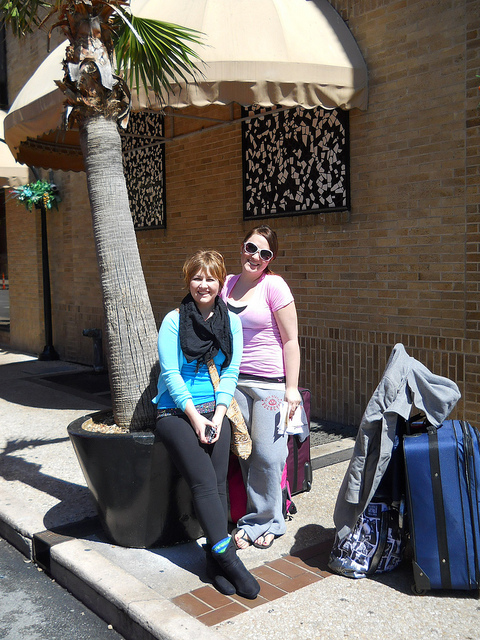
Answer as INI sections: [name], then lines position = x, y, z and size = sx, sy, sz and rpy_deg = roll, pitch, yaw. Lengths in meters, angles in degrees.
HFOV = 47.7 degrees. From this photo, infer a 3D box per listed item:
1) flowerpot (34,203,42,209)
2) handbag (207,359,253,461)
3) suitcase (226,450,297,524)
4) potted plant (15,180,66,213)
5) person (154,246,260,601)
[flowerpot]
position = -3.912, -2.224, 10.578
size = 0.134, 0.167, 0.141
rpy_deg = 0, 13, -16
[handbag]
position = -0.016, 0.517, 2.789
size = 0.149, 0.649, 0.144
rpy_deg = -21, 16, -39
[suitcase]
position = 0.141, 1.004, 3.238
size = 0.430, 0.456, 0.349
rpy_deg = -3, 7, -14
[potted plant]
position = -3.891, -2.450, 10.421
size = 0.626, 0.345, 0.691
rpy_deg = 19, 38, 17
[person]
position = -0.184, 0.474, 2.696
size = 0.450, 1.628, 0.885
rpy_deg = -2, 7, -9
